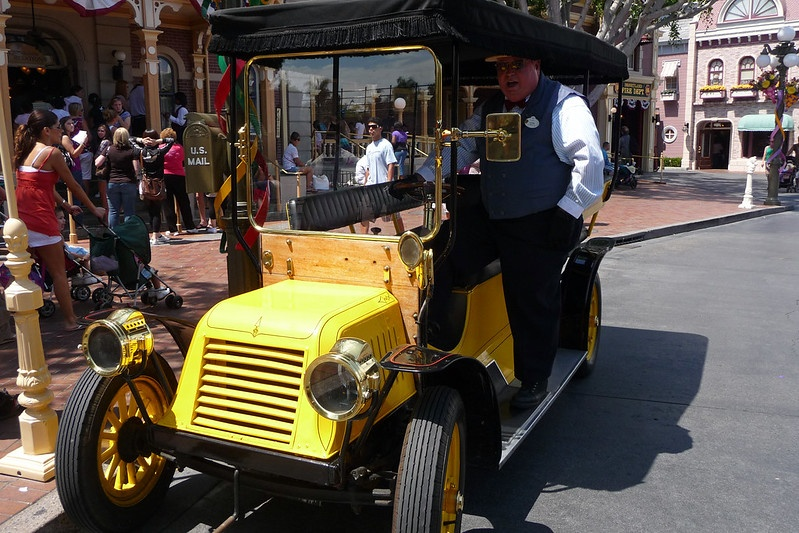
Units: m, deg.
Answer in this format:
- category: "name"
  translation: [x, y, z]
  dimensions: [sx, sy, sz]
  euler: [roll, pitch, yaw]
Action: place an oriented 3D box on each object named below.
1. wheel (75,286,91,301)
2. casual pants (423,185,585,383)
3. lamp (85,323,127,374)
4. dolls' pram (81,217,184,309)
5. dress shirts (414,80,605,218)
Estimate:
- category: "wheel"
  translation: [-4.171, 0.374, 8.240]
  dimensions: [0.062, 0.180, 0.161]
  euler: [-1, 9, 31]
- category: "casual pants"
  translation: [0.742, 0.111, 4.700]
  dimensions: [0.899, 1.761, 0.532]
  euler: [22, 31, 36]
- category: "lamp"
  translation: [-1.785, 0.484, 3.916]
  dimensions: [0.260, 0.324, 0.122]
  euler: [-15, -1, 17]
- category: "dolls' pram"
  translation: [-3.430, -0.051, 8.012]
  dimensions: [0.735, 1.300, 1.022]
  euler: [3, 6, 26]
- category: "dress shirts"
  translation: [0.786, -0.822, 4.540]
  dimensions: [0.473, 0.607, 0.852]
  euler: [-21, 30, -27]
